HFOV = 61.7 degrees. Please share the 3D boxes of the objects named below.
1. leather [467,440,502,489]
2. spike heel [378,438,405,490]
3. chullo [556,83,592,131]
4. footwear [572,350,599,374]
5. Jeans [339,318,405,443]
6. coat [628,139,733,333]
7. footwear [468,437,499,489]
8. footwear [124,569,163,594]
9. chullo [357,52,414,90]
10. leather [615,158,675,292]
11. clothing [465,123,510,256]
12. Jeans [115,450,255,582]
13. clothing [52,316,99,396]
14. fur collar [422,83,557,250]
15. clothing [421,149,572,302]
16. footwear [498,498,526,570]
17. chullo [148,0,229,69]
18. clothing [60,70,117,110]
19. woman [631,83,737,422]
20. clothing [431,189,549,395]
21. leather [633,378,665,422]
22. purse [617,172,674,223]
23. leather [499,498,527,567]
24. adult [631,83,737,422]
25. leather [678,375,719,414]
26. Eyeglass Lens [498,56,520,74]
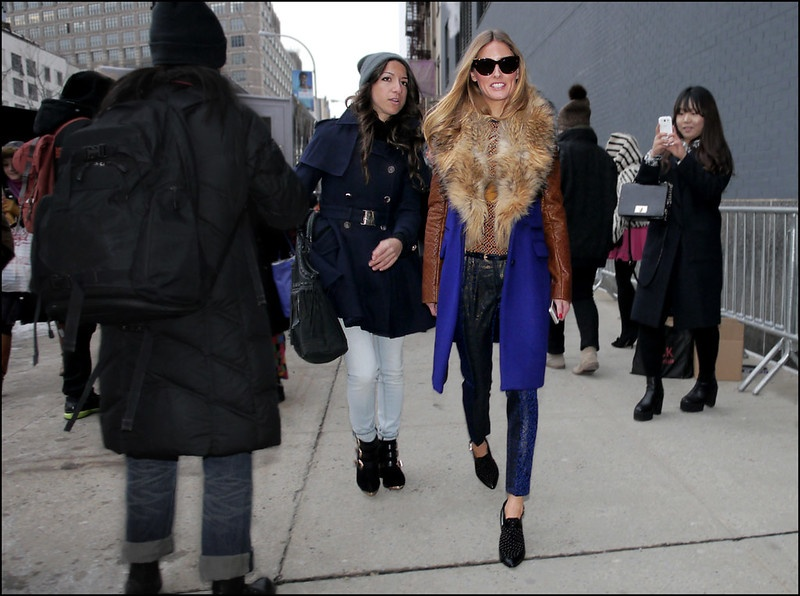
[{"bbox_3d":[0.501,0.974,4.031,0.150,0.099,0.385,-1,34,-13],"label":"leather"},{"bbox_3d":[-0.049,1.003,3.983,0.106,0.143,0.334,-7,52,-5],"label":"spike heel"},{"bbox_3d":[1.617,-1.759,6.170,0.269,0.352,0.356,-14,12,-33],"label":"chullo"},{"bbox_3d":[1.678,0.557,5.977,0.211,0.240,0.231,3,14,17],"label":"footwear"},{"bbox_3d":[-0.098,0.504,4.030,0.448,0.299,1.228,2,25,-3],"label":"Jeans"},{"bbox_3d":[1.984,-0.485,4.844,0.653,1.491,0.634,2,9,18],"label":"coat"},{"bbox_3d":[0.511,0.981,4.000,0.121,0.306,0.083,-19,-14,8],"label":"footwear"},{"bbox_3d":[-1.147,1.280,3.008,0.146,0.165,0.091,2,4,-12],"label":"footwear"},{"bbox_3d":[-0.088,-1.313,3.858,0.316,0.190,0.185,0,13,5],"label":"chullo"},{"bbox_3d":[1.991,-0.652,5.123,0.295,1.097,0.664,9,-10,-17],"label":"leather"},{"bbox_3d":[0.456,-0.597,3.560,0.269,0.791,0.193,1,7,25],"label":"clothing"},{"bbox_3d":[-0.977,1.021,3.066,0.703,0.680,0.271,1,-3,2],"label":"Jeans"},{"bbox_3d":[-2.413,0.472,5.210,0.209,0.642,0.179,1,-28,-5],"label":"clothing"},{"bbox_3d":[0.502,-0.687,3.548,0.643,0.881,0.203,-1,-4,10],"label":"fur collar"},{"bbox_3d":[0.519,-0.372,3.524,0.810,1.073,0.421,0,-4,11],"label":"clothing"},{"bbox_3d":[0.562,1.210,3.329,0.088,0.068,0.254,0,42,8],"label":"footwear"},{"bbox_3d":[-0.870,-1.132,2.915,0.320,0.293,0.246,4,31,-3],"label":"chullo"},{"bbox_3d":[-2.251,-1.467,4.875,0.350,0.311,0.268,7,-16,-7],"label":"clothing"},{"bbox_3d":[2.081,-0.327,4.913,0.838,2.354,0.629,-1,4,-22],"label":"woman"},{"bbox_3d":[0.481,0.014,3.513,0.620,1.026,0.382,1,13,12],"label":"clothing"},{"bbox_3d":[1.821,0.723,4.882,0.340,0.320,0.106,-16,15,-41],"label":"leather"},{"bbox_3d":[1.763,-0.683,4.779,0.353,0.275,0.250,3,14,20],"label":"purse"},{"bbox_3d":[0.575,1.169,3.406,0.131,0.082,0.368,2,36,6],"label":"leather"},{"bbox_3d":[2.074,-0.337,4.909,0.787,2.347,0.629,1,2,-16],"label":"adult"},{"bbox_3d":[2.254,0.729,4.973,0.332,0.227,0.175,-2,5,-16],"label":"leather"},{"bbox_3d":[0.583,-1.231,3.527,0.116,0.089,0.031,-5,13,-13],"label":"Eyeglass Lens"}]
